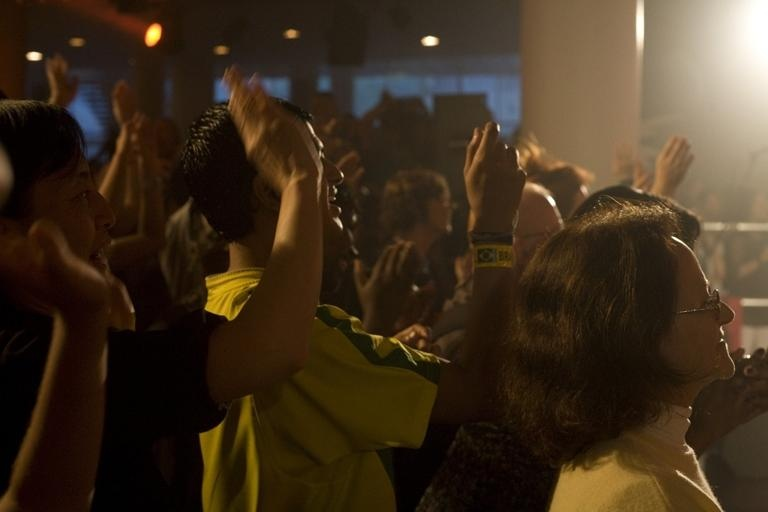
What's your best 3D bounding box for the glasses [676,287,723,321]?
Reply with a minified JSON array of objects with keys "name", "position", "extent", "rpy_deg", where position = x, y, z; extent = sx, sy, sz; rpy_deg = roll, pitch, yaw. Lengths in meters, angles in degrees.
[{"name":"glasses","position":[0.867,0.128,2.192],"extent":[0.089,0.030,0.073],"rpy_deg":[-12,0,3]}]
